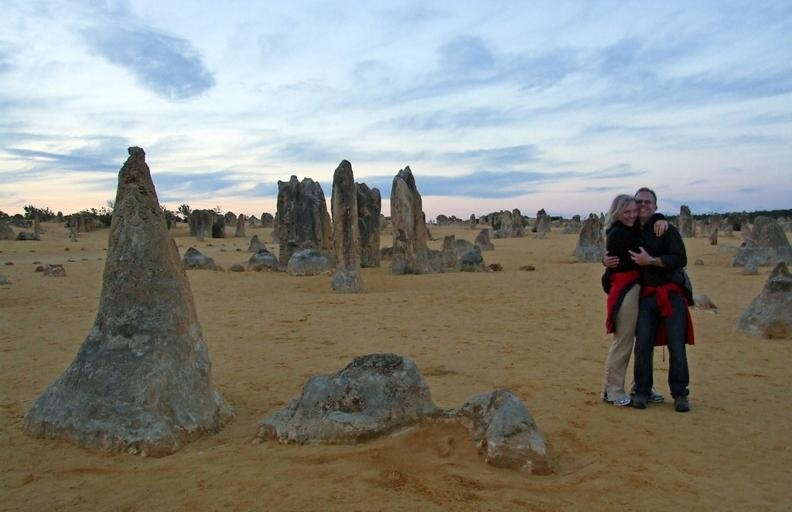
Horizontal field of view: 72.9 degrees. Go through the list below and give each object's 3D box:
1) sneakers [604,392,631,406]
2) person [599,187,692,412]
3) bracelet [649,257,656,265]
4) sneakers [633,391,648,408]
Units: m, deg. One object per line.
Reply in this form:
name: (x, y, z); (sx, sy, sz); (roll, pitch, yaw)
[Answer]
sneakers: (2.653, 1.690, 6.394); (0.241, 0.122, 0.130); (-5, 0, 33)
person: (2.988, 0.498, 6.337); (1.017, 2.475, 0.817); (4, 14, 20)
bracelet: (2.996, 0.058, 6.217); (0.059, 0.089, 0.077); (-7, 7, 1)
sneakers: (2.913, 1.701, 6.350); (0.092, 0.118, 0.266); (3, 5, 36)
